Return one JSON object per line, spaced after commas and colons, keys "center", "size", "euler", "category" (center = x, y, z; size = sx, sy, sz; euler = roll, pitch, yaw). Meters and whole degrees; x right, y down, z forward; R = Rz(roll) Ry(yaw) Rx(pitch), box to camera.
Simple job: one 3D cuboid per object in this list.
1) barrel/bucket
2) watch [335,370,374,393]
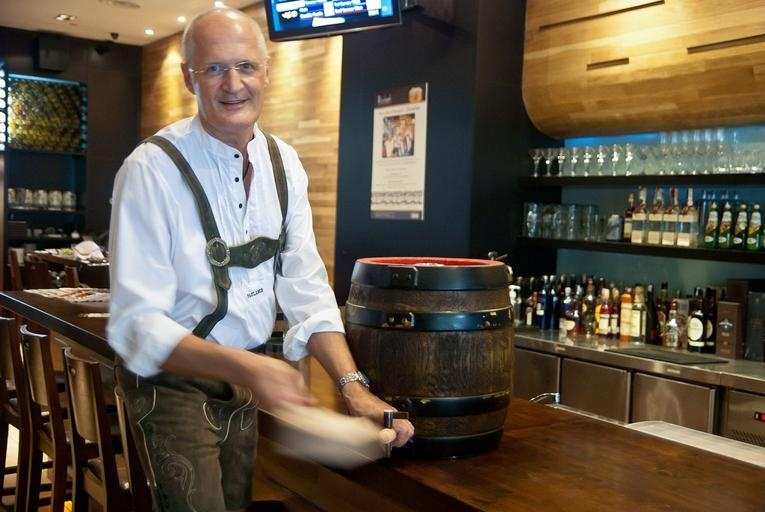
{"center": [0.126, 0.259, 1.503], "size": [0.474, 0.436, 0.462], "euler": [1, -3, 0], "category": "barrel/bucket"}
{"center": [-0.079, 0.308, 1.359], "size": [0.061, 0.034, 0.055], "euler": [2, -19, 18], "category": "watch"}
